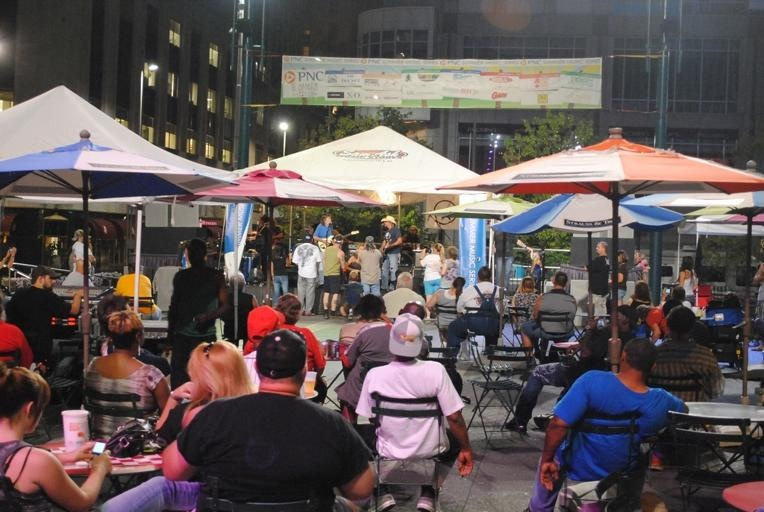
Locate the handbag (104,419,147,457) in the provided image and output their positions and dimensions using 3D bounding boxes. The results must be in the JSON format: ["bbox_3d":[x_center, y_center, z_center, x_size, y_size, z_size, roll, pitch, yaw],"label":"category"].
[{"bbox_3d":[-4.558,3.300,20.421,0.718,0.626,0.161,2,-1,-15],"label":"handbag"}]

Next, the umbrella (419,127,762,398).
[{"bbox_3d":[4.248,0.214,22.548,5.106,3.543,5.326,0,0,-21],"label":"umbrella"}]

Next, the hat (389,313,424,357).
[{"bbox_3d":[0.461,1.461,21.327,0.686,0.347,0.955,8,36,-1],"label":"hat"}]

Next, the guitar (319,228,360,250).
[{"bbox_3d":[-1.502,-0.556,39.371,1.116,0.396,0.154,-31,-6,33],"label":"guitar"}]

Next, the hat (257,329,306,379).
[{"bbox_3d":[-1.852,1.709,19.658,0.870,1.100,0.608,6,14,-8],"label":"hat"}]
